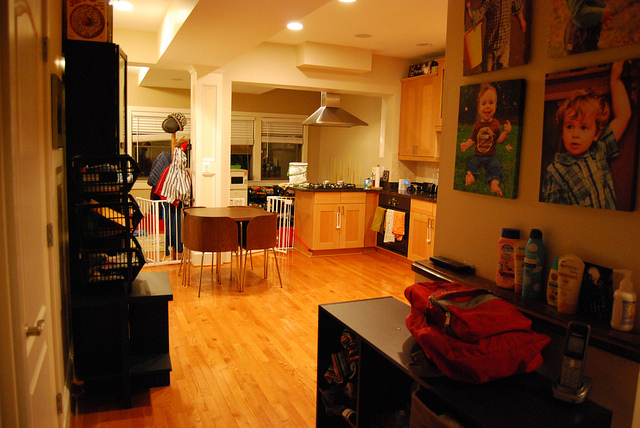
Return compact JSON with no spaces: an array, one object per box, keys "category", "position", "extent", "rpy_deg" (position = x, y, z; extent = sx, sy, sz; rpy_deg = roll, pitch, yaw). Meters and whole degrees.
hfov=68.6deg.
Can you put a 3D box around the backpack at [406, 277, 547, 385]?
[{"category":"backpack","position":[0.688,0.486,2.232],"extent":[0.517,0.250,0.718],"rpy_deg":[-6,16,-19]}]

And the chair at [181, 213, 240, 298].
[{"category":"chair","position":[-1.199,0.360,5.221],"extent":[0.555,0.876,0.580],"rpy_deg":[-6,18,-34]}]

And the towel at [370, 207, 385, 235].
[{"category":"towel","position":[0.840,0.084,6.821],"extent":[0.113,0.327,0.251],"rpy_deg":[2,5,-33]}]

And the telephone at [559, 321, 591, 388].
[{"category":"telephone","position":[1.047,0.590,1.946],"extent":[0.078,0.324,0.045],"rpy_deg":[10,16,26]}]

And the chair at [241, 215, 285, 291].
[{"category":"chair","position":[-0.703,0.321,5.740],"extent":[0.498,0.879,1.367],"rpy_deg":[0,12,-8]}]

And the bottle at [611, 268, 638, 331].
[{"category":"bottle","position":[1.250,0.346,1.947],"extent":[0.080,0.236,0.097],"rpy_deg":[-8,15,-39]}]

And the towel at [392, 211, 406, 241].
[{"category":"towel","position":[1.093,0.132,6.457],"extent":[0.094,0.329,0.244],"rpy_deg":[2,0,-31]}]

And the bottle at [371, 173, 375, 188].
[{"category":"bottle","position":[0.817,-0.520,7.228],"extent":[0.067,0.188,0.035],"rpy_deg":[9,14,33]}]
